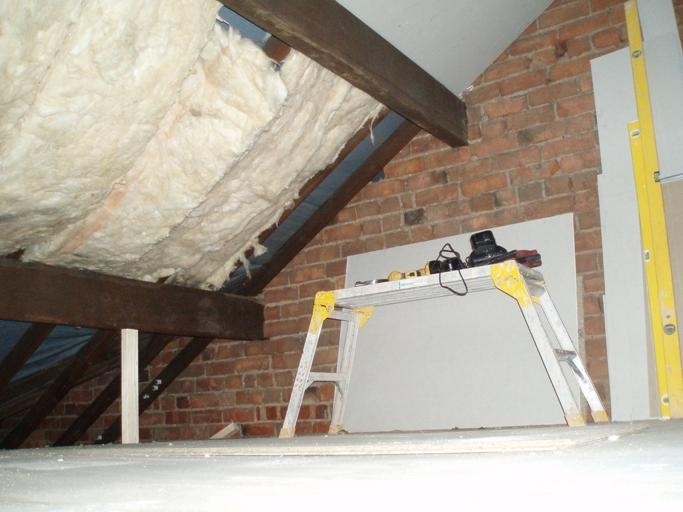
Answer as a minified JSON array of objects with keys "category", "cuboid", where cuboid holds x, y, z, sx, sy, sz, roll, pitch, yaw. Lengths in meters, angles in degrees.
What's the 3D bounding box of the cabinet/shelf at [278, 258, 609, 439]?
[{"category":"cabinet/shelf","cuboid":[0.421,0.449,2.606,1.360,0.712,0.646,-7,-14,22]}]
